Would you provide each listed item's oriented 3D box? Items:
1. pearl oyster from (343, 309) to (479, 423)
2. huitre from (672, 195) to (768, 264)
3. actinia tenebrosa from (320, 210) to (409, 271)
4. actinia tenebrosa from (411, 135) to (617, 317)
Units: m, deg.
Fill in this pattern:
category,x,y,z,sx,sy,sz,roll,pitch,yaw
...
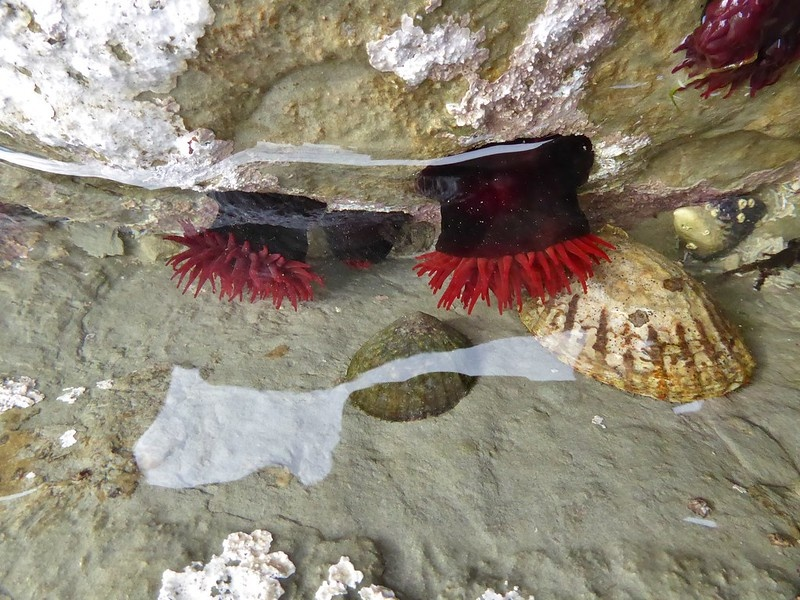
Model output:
category,x,y,z,sx,sy,sz,roll,pitch,yaw
pearl oyster,0.055,0.308,3.081,0.574,0.102,0.586,20,55,15
huitre,1.566,-0.376,3.349,0.409,0.125,0.269,-25,97,21
actinia tenebrosa,-0.213,-0.320,3.538,0.371,0.291,0.102,13,54,-26
actinia tenebrosa,0.490,-0.326,3.007,0.847,0.751,0.384,-4,20,12
